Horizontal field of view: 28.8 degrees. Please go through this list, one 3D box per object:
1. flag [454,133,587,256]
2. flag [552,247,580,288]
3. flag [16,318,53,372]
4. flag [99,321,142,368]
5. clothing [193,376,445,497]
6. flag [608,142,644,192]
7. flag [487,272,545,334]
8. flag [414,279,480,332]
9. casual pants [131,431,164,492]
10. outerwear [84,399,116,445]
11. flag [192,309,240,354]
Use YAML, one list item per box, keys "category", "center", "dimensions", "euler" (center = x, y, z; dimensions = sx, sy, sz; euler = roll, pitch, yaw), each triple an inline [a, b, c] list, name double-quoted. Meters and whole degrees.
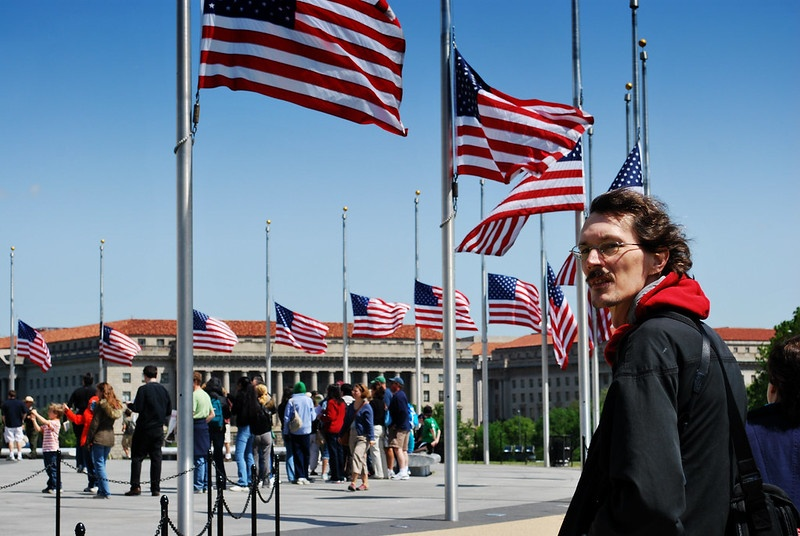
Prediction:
- category: "flag"
  center: [2.450, -1.764, 31.235]
  dimensions: [2.607, 2.630, 0.195]
  euler: [-1, 0, 3]
- category: "flag"
  center: [3.899, 0.086, 35.877]
  dimensions: [0.908, 0.971, 0.039]
  euler: [3, 3, -40]
- category: "flag"
  center: [-14.510, 3.149, 61.698]
  dimensions: [1.117, 2.084, 6.016]
  euler: [2, -10, -15]
- category: "flag"
  center: [-10.660, 3.025, 59.392]
  dimensions: [1.240, 1.478, 2.923]
  euler: [0, -10, -8]
- category: "clothing"
  center: [-2.728, 3.754, 35.252]
  dimensions: [3.032, 2.670, 5.800]
  euler: [-9, -12, 37]
- category: "flag"
  center: [5.280, -2.408, 36.060]
  dimensions: [0.622, 1.492, 2.352]
  euler: [-2, -10, 7]
- category: "flag"
  center: [3.295, 1.023, 45.384]
  dimensions: [2.251, 1.727, 0.240]
  euler: [4, -7, -21]
- category: "flag"
  center: [1.124, 1.092, 42.486]
  dimensions: [2.295, 1.681, 0.266]
  euler: [2, -5, 1]
- category: "casual pants"
  center: [-5.535, 4.273, 34.161]
  dimensions: [0.704, 1.382, 1.570]
  euler: [1, -10, -9]
- category: "outerwear"
  center: [-6.450, 3.356, 33.581]
  dimensions: [0.734, 1.069, 0.524]
  euler: [15, -23, -36]
- category: "flag"
  center: [-6.782, 2.258, 56.821]
  dimensions: [1.386, 1.513, 2.392]
  euler: [0, -10, -6]
